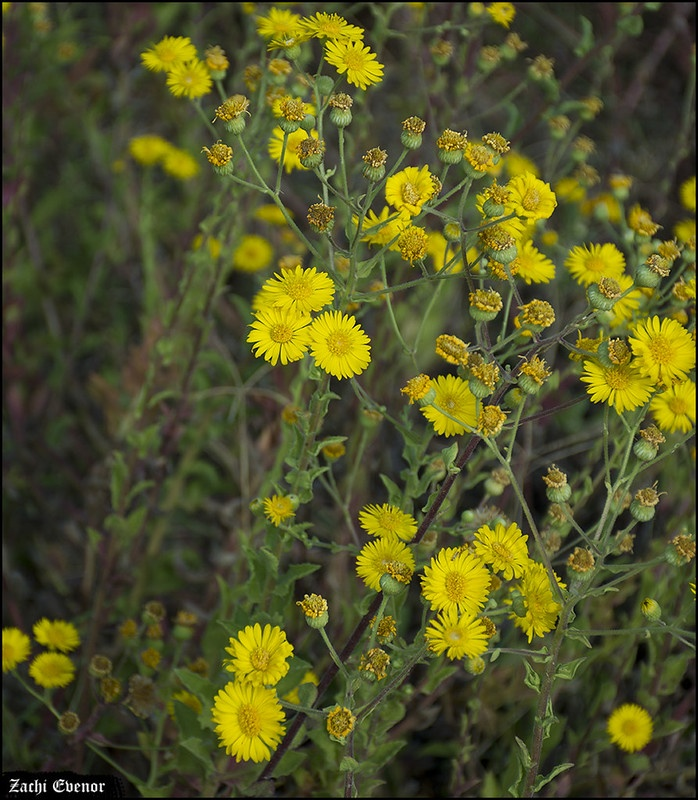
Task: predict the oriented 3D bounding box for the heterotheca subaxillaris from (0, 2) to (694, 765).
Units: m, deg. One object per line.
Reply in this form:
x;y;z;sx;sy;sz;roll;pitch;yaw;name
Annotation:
-0.013;-0.116;1.293;1.056;0.478;1.126;0;76;-2;heterotheca subaxillaris
